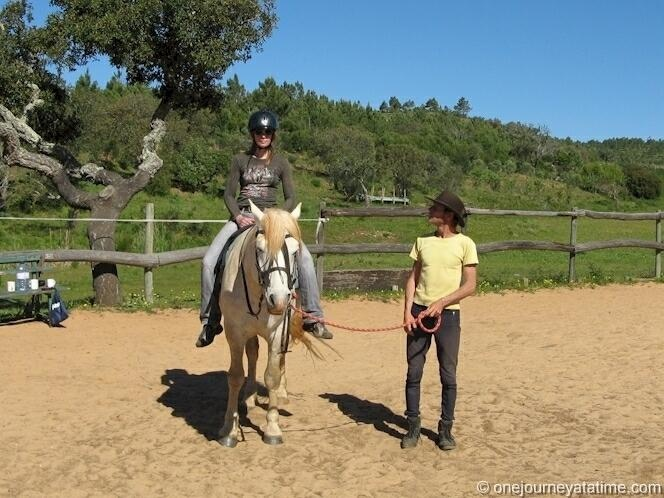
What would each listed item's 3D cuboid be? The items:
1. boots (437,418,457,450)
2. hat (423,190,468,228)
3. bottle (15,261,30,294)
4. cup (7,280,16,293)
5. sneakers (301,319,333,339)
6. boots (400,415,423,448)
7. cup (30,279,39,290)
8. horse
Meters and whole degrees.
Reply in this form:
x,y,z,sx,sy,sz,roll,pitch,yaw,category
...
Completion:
x,y,z,sx,sy,sz,roll,pitch,yaw,category
1.652,2.684,11.158,0.277,0.520,0.741,1,-14,-2,boots
1.686,-0.585,11.095,0.420,0.524,0.702,-1,4,8,hat
-6.206,0.573,15.488,0.271,0.524,0.409,-2,3,-11,bottle
-6.380,0.751,15.394,0.196,0.303,0.180,-1,-6,0,cup
-0.228,1.188,11.486,0.192,0.240,0.571,1,1,-33,sneakers
1.149,2.649,11.211,0.229,0.366,0.469,-9,-7,43,boots
-6.012,0.711,15.552,0.177,0.202,0.191,-1,3,0,cup
-1.047,1.073,11.179,1.272,3.509,2.131,-1,3,-3,horse
